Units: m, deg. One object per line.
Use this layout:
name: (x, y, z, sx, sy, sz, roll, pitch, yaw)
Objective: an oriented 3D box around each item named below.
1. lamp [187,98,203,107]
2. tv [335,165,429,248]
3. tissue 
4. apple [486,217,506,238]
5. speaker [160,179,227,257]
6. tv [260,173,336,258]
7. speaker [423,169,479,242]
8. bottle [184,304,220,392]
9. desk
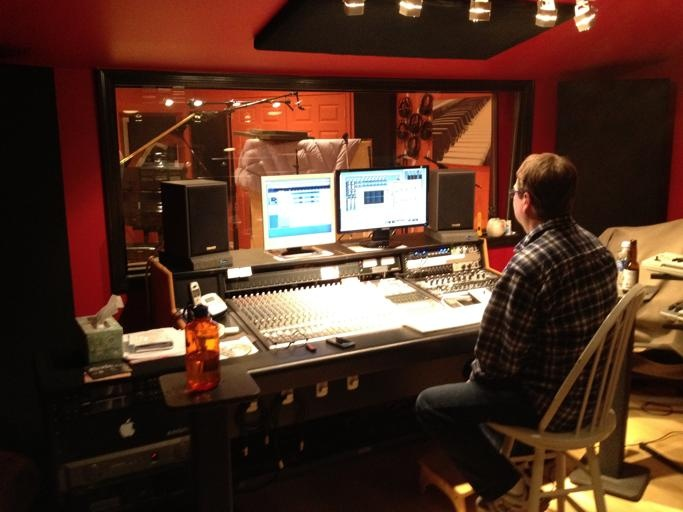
lamp: (-0.973, -1.021, 3.657, 0.033, 0.060, 0.112, 0, 11, 35)
tv: (0.252, -0.312, 3.369, 0.657, 0.473, 0.189, -7, 12, -29)
tissue : (-1.063, 0.328, 2.403, 0.209, 0.268, 0.194, 4, 16, -22)
apple: (1.227, -0.235, 4.283, 0.125, 0.165, 0.155, -2, -12, -16)
speaker: (-0.813, -0.198, 3.035, 0.341, 0.384, 0.354, 3, 11, 14)
tv: (-0.248, -0.232, 3.142, 0.447, 0.445, 0.126, -7, 12, -25)
speaker: (0.798, -0.334, 3.544, 0.278, 0.468, 0.268, 0, 5, 42)
bottle: (-0.540, 0.383, 2.118, 0.140, 0.257, 0.140, -6, 9, 1)
desk: (0.011, 0.524, 2.358, 1.460, 0.870, 0.549, -7, 9, -8)
